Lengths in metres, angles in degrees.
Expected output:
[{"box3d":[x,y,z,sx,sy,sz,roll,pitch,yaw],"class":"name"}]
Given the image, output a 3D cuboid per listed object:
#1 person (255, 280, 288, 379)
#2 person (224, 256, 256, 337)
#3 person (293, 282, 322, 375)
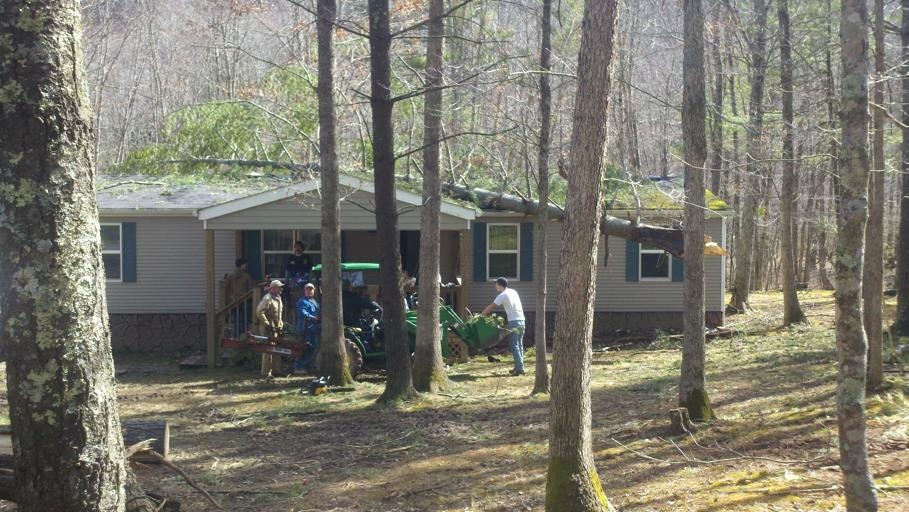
[{"box3d":[-6.697,2.683,50.235,0.974,3.369,1.259,2,4,19],"class":"person"},{"box3d":[-8.124,1.611,52.382,0.999,2.956,1.067,0,0,-12],"class":"person"},{"box3d":[-5.271,2.670,49.787,0.865,3.225,1.432,-1,-2,-6],"class":"person"}]
